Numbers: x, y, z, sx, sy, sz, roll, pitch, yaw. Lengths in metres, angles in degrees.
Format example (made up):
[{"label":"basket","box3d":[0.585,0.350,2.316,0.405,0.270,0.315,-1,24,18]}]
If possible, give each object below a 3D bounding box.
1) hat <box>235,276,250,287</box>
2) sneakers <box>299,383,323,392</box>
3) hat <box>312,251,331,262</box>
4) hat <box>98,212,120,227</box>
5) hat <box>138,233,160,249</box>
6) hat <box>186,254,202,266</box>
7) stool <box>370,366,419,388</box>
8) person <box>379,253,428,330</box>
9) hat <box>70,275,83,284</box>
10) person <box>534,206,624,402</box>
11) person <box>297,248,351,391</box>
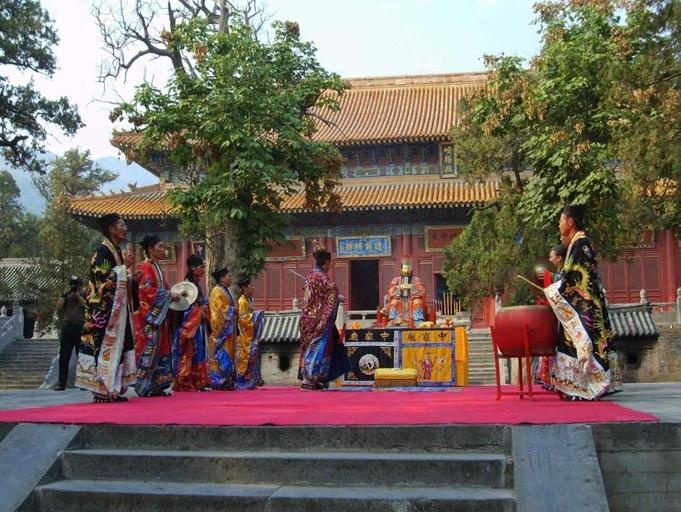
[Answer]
[{"label":"hat","box3d":[-1.560,0.378,19.698,0.232,0.178,0.207,0,-9,45]},{"label":"sneakers","box3d":[-0.434,1.969,18.303,0.308,0.136,0.115,0,-4,0]},{"label":"hat","box3d":[-0.284,-0.007,18.304,0.198,0.103,0.150,-5,-10,42]},{"label":"hat","box3d":[-3.189,-0.525,16.797,0.213,0.136,0.202,-10,-3,-5]},{"label":"hat","box3d":[-2.785,-0.207,17.731,0.256,0.155,0.225,-22,2,26]},{"label":"hat","box3d":[-2.221,0.061,18.587,0.185,0.161,0.173,2,1,-16]},{"label":"stool","box3d":[0.848,1.863,18.716,0.642,0.308,0.459,2,-7,0]},{"label":"person","box3d":[1.153,0.637,21.677,0.704,1.315,0.659,-2,-8,16]},{"label":"hat","box3d":[-4.597,0.421,21.240,0.181,0.182,0.191,-2,-3,4]},{"label":"person","box3d":[3.170,0.597,16.139,0.855,2.594,0.327,0,-6,13]},{"label":"person","box3d":[-0.237,0.933,18.338,0.717,2.130,0.405,2,-6,-2]}]
